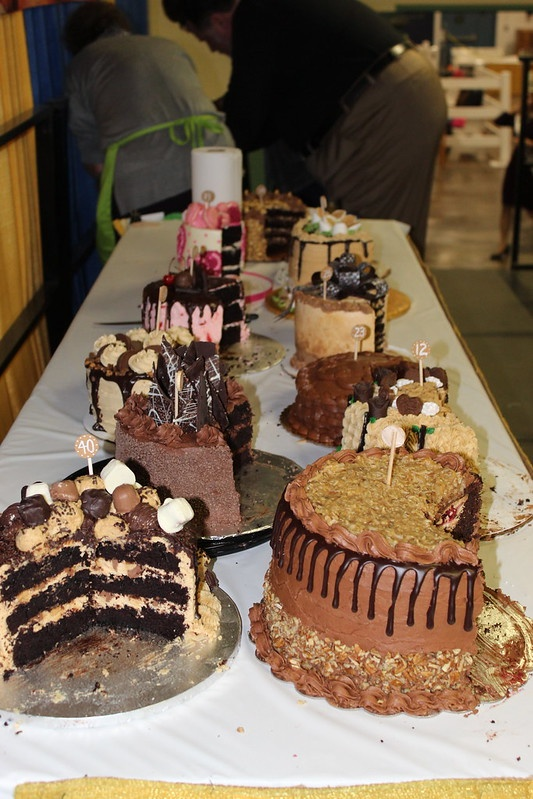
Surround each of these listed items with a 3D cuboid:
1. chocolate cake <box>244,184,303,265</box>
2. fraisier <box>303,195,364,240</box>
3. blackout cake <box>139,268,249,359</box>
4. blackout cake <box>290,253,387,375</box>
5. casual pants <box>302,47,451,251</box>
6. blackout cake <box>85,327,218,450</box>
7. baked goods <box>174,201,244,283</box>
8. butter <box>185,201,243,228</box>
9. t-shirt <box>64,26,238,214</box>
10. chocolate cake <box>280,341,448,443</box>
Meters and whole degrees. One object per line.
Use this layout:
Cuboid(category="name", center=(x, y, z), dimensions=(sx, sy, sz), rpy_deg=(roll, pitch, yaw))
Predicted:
Cuboid(category="chocolate cake", center=(0.039, -1.171, 4.753), dimensions=(0.460, 0.188, 0.578), rpy_deg=(-2, 31, -3))
Cuboid(category="fraisier", center=(0.312, -0.919, 3.521), dimensions=(0.221, 0.103, 0.264), rpy_deg=(-1, 29, -8))
Cuboid(category="blackout cake", center=(-0.269, -0.421, 3.150), dimensions=(0.461, 0.312, 0.467), rpy_deg=(8, 18, 23))
Cuboid(category="blackout cake", center=(0.303, -0.388, 3.042), dimensions=(0.467, 0.496, 0.480), rpy_deg=(1, 21, 4))
Cuboid(category="casual pants", center=(1.110, -2.286, 6.876), dimensions=(1.091, 1.750, 1.318), rpy_deg=(10, -10, 14))
Cuboid(category="blackout cake", center=(-0.409, -0.041, 2.362), dimensions=(0.458, 0.291, 0.444), rpy_deg=(4, 25, 8))
Cuboid(category="baked goods", center=(-0.250, -0.813, 3.714), dimensions=(0.403, 0.418, 0.406), rpy_deg=(0, 27, -6))
Cuboid(category="butter", center=(-0.261, -0.900, 3.573), dimensions=(0.229, 0.072, 0.163), rpy_deg=(5, 16, 28))
Cuboid(category="t-shirt", center=(-1.042, -2.313, 6.097), dimensions=(1.194, 1.400, 0.793), rpy_deg=(-4, 27, -13))
Cuboid(category="chocolate cake", center=(0.345, -0.033, 2.589), dimensions=(0.421, 0.429, 0.139), rpy_deg=(-24, 62, 2))
